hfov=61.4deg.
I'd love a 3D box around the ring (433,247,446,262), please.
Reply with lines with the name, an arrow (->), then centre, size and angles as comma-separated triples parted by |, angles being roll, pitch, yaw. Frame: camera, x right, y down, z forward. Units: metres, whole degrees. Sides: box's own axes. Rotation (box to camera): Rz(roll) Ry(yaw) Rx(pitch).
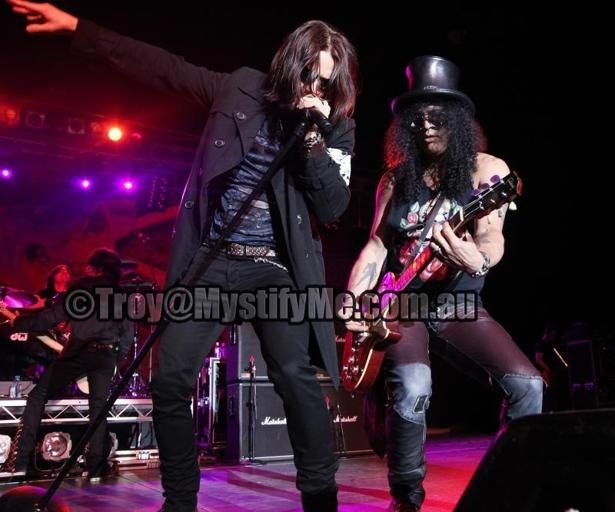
ring -> 0.633, -0.010, 2.556 | 0.015, 0.067, 0.066 | -28, -30, 11

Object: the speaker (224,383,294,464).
speaker -> -0.558, 1.973, 6.162 | 0.824, 0.877, 0.498 | 10, -18, -36

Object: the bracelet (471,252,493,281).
bracelet -> 0.846, 0.079, 2.561 | 0.114, 0.120, 0.035 | -34, 34, -32

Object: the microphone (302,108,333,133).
microphone -> 0.046, -0.523, 2.079 | 0.111, 0.090, 0.127 | -1, -17, 17

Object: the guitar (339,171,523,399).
guitar -> 0.590, 0.153, 2.793 | 0.370, 1.141, 1.156 | 16, -19, -39

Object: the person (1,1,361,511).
person -> -0.402, -0.017, 2.344 | 1.149, 2.250, 0.543 | 1, -15, 12

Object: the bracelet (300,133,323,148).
bracelet -> 0.019, -0.490, 2.191 | 0.049, 0.020, 0.072 | 7, -21, -15

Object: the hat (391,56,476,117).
hat -> 0.781, -1.049, 3.270 | 0.496, 0.518, 0.314 | -5, -43, -10

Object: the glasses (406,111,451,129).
glasses -> 0.709, -0.797, 3.041 | 0.139, 0.054, 0.147 | 0, -17, 28
